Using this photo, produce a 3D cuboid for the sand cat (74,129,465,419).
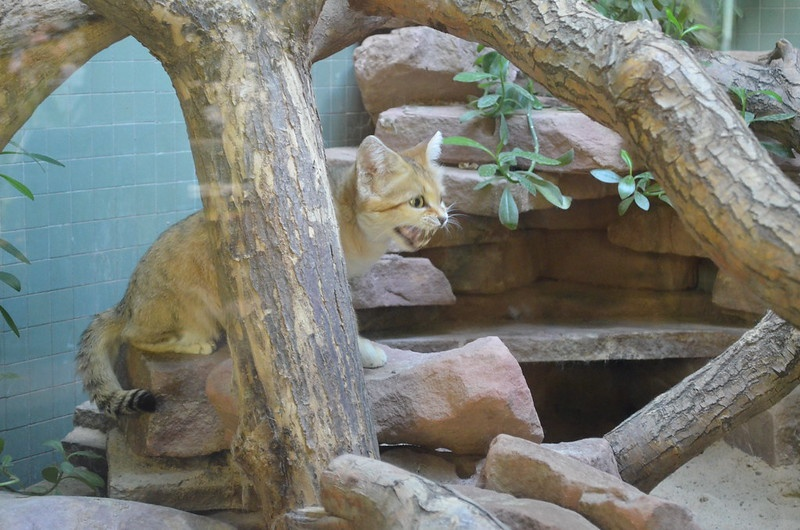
[{"bbox_3d":[-0.811,-0.025,6.662,2.052,1.386,1.371,-3,12,-3],"label":"sand cat"}]
